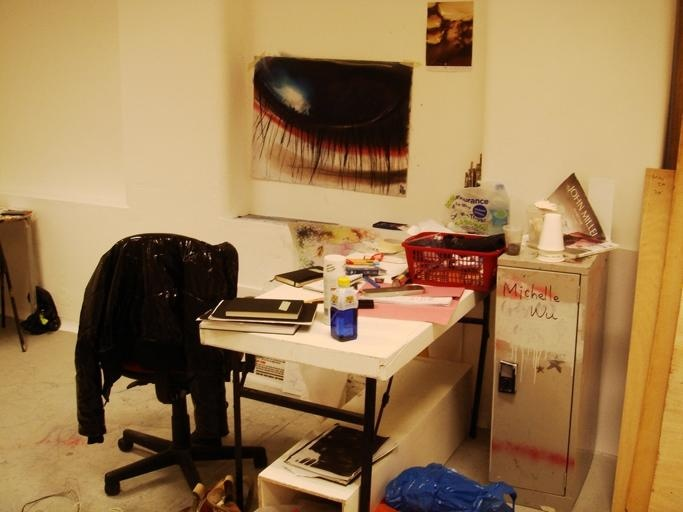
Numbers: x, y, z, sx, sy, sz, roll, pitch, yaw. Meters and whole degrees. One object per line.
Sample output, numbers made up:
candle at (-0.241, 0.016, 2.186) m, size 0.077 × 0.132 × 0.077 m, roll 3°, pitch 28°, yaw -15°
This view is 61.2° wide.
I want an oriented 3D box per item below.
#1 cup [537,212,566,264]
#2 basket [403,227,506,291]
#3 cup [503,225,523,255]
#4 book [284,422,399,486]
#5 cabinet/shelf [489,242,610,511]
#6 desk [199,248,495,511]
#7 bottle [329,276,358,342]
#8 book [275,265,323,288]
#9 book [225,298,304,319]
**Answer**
cup at (1.023, -0.097, 2.771) m, size 0.125 × 0.227 × 0.141 m, roll 3°, pitch 10°, yaw 19°
basket at (0.554, -0.007, 2.896) m, size 0.416 × 0.178 × 0.281 m, roll 5°, pitch 13°, yaw 22°
cup at (0.841, -0.082, 2.871) m, size 0.130 × 0.142 × 0.125 m, roll -1°, pitch 16°, yaw 0°
book at (0.020, 0.880, 2.561) m, size 0.290 × 0.049 × 0.327 m, roll 8°, pitch 17°, yaw 36°
cabinet/shelf at (1.117, 0.604, 2.928) m, size 0.689 × 1.271 × 0.359 m, roll -5°, pitch 10°, yaw -25°
desk at (0.104, 0.590, 2.757) m, size 0.900 × 1.146 × 1.234 m, roll 6°, pitch 11°, yaw 35°
bottle at (0.009, 0.206, 2.329) m, size 0.115 × 0.247 × 0.120 m, roll -1°, pitch 9°, yaw 0°
book at (-0.190, 0.096, 2.942) m, size 0.115 × 0.022 × 0.172 m, roll 10°, pitch 18°, yaw 33°
book at (-0.331, 0.216, 2.409) m, size 0.213 × 0.029 × 0.129 m, roll 1°, pitch 13°, yaw 1°
